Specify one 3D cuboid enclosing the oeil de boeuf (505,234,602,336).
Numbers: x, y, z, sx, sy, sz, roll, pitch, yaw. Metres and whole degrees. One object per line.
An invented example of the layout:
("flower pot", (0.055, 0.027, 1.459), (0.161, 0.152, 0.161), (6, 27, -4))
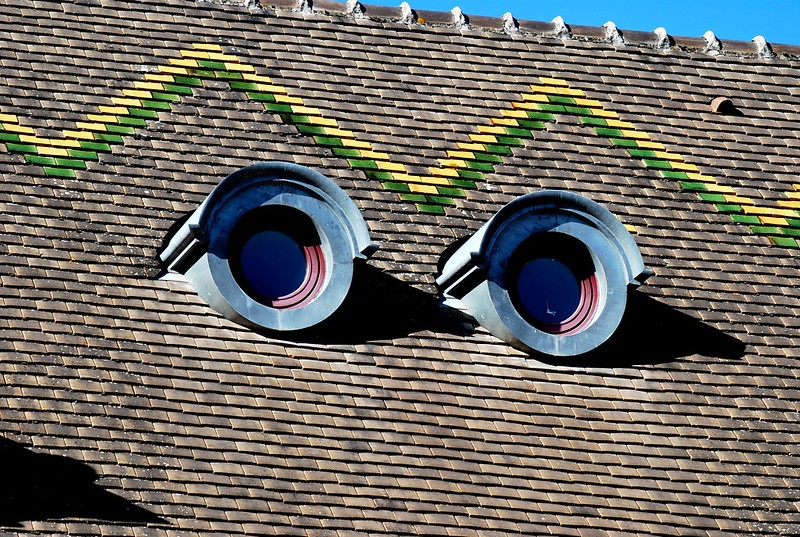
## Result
("oeil de boeuf", (2.027, 0.270, 32.875), (1.418, 1.334, 0.159), (-4, -8, -7))
